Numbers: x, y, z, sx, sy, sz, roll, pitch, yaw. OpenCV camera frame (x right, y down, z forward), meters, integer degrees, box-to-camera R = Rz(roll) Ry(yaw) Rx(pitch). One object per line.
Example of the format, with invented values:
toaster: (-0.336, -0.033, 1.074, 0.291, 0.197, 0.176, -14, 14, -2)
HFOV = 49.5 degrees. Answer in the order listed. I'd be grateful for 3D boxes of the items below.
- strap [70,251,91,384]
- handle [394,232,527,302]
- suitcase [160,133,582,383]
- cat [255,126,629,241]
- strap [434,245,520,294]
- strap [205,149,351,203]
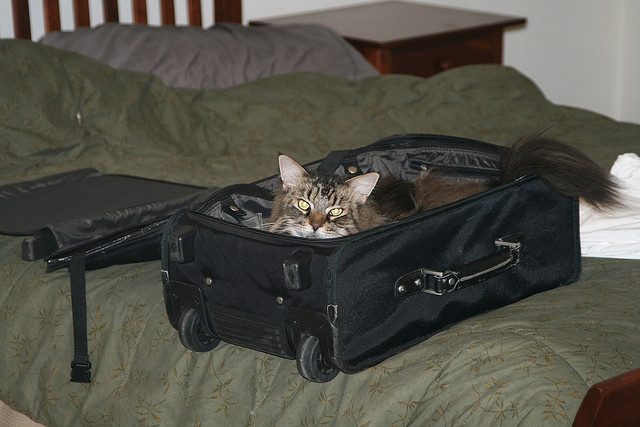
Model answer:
strap: (-0.639, 0.294, 1.874, 0.080, 0.347, 0.038, -7, -7, 33)
handle: (0.313, 0.112, 1.634, 0.235, 0.056, 0.160, -20, 12, -20)
suitcase: (0.177, 0.108, 1.716, 0.923, 0.313, 0.648, -20, 20, -35)
cat: (0.326, -0.068, 1.813, 0.718, 0.216, 0.396, -18, 21, -24)
strap: (0.369, 0.135, 1.622, 0.147, 0.036, 0.110, -16, 4, 17)
strap: (-0.128, -0.106, 2.047, 0.469, 0.052, 0.062, -19, 32, -16)
